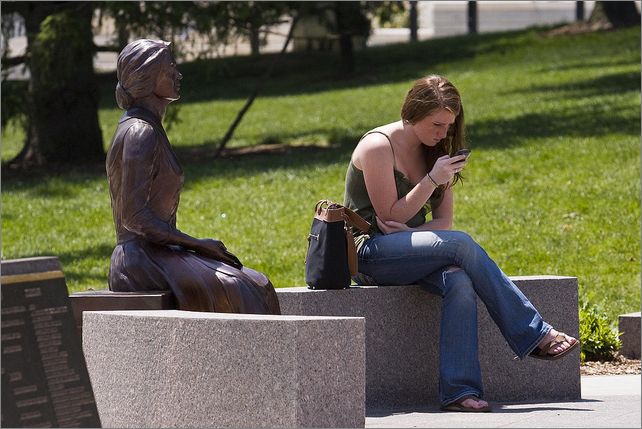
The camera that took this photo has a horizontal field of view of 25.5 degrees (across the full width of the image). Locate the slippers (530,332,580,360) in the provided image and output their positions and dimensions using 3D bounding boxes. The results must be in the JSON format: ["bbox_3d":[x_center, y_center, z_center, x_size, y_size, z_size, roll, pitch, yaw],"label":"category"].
[{"bbox_3d":[2.621,1.487,15.837,0.501,0.146,0.270,-20,18,17],"label":"slippers"}]

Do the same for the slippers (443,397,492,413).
[{"bbox_3d":[1.639,2.108,15.711,0.360,0.111,0.206,-3,-3,10],"label":"slippers"}]
